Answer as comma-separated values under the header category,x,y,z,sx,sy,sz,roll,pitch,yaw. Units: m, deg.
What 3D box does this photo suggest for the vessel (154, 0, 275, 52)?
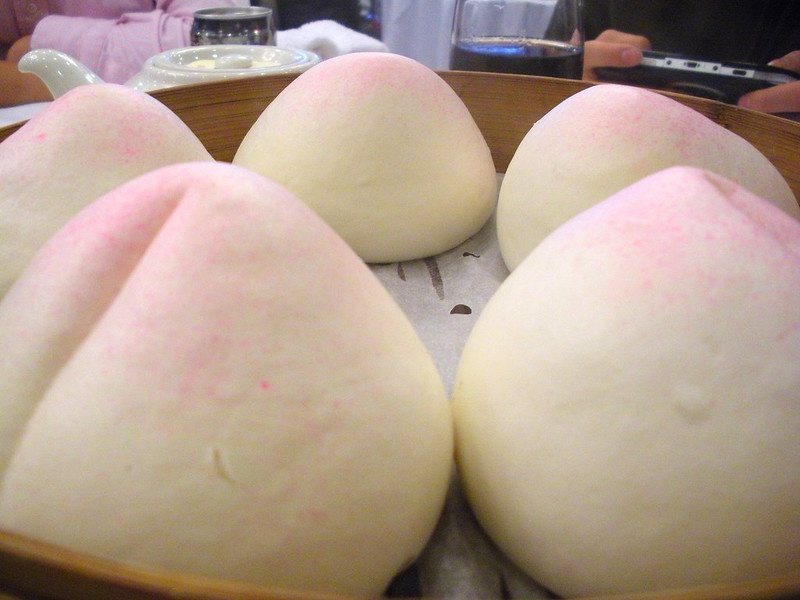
category,x,y,z,sx,sy,sz,roll,pitch,yaw
vessel,-0.337,-0.508,1.375,0.152,0.099,0.135,0,33,-6

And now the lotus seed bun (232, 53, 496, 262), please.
category,x,y,z,sx,sy,sz,roll,pitch,yaw
lotus seed bun,-0.052,-0.168,0.974,0.323,0.165,0.291,-7,36,-12
